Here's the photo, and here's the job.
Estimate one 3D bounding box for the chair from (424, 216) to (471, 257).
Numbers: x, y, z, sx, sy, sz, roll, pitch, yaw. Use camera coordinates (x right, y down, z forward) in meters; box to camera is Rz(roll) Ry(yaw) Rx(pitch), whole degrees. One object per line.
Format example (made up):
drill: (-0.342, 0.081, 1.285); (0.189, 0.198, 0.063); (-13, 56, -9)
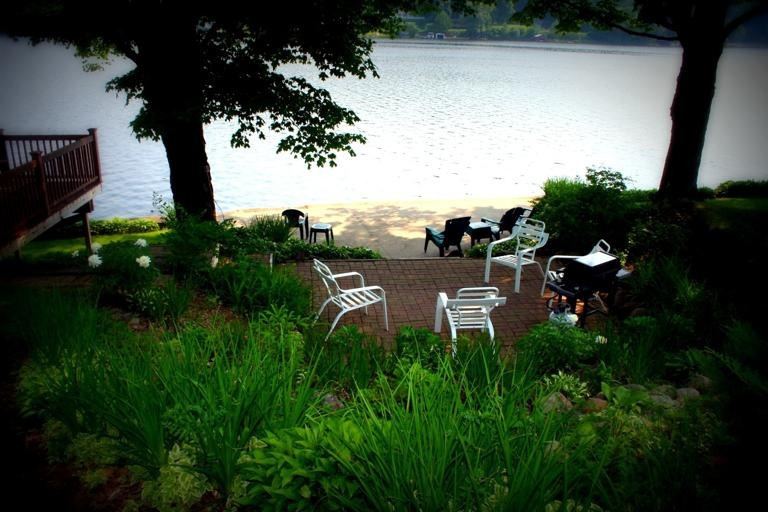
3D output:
chair: (1.675, -0.688, 14.849); (0.981, 1.269, 1.324); (-12, 28, -19)

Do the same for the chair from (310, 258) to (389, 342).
chair: (-0.510, 0.564, 9.425); (1.344, 1.538, 1.143); (-8, 22, -19)

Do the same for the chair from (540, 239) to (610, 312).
chair: (3.469, 0.372, 9.688); (1.030, 1.273, 0.955); (-9, 21, -20)

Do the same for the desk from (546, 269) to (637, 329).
desk: (3.521, 0.741, 9.226); (1.278, 1.191, 0.718); (-12, 23, -19)

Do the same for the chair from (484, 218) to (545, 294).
chair: (2.878, 0.017, 11.674); (1.198, 1.745, 1.242); (-14, 22, -35)

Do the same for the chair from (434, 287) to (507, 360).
chair: (1.369, 0.897, 8.555); (0.910, 1.154, 0.872); (1, 14, -1)
